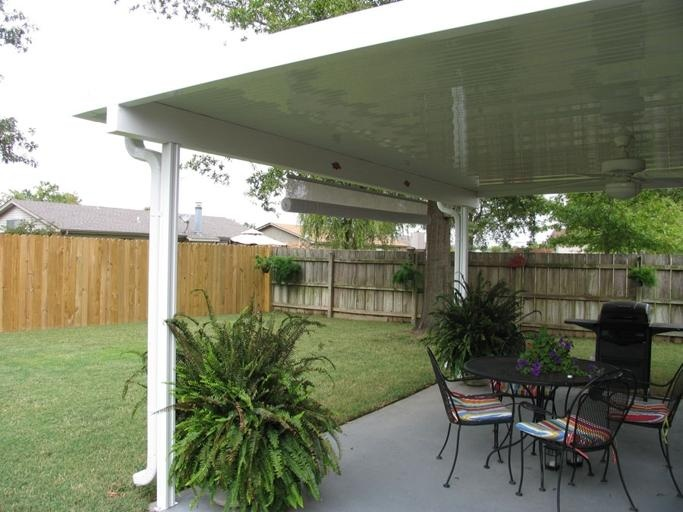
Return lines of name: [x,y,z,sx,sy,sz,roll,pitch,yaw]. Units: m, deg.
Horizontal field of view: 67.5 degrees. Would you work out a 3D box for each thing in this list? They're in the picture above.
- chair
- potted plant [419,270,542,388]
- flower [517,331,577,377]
chair: [1.791,1.409,4.450,1.549,0.982,1.700,-1,-1,32]
potted plant: [1.813,0.926,7.035,1.443,1.447,1.545,-1,2,17]
flower: [1.786,0.877,4.488,0.395,0.300,0.435,0,-3,-9]
